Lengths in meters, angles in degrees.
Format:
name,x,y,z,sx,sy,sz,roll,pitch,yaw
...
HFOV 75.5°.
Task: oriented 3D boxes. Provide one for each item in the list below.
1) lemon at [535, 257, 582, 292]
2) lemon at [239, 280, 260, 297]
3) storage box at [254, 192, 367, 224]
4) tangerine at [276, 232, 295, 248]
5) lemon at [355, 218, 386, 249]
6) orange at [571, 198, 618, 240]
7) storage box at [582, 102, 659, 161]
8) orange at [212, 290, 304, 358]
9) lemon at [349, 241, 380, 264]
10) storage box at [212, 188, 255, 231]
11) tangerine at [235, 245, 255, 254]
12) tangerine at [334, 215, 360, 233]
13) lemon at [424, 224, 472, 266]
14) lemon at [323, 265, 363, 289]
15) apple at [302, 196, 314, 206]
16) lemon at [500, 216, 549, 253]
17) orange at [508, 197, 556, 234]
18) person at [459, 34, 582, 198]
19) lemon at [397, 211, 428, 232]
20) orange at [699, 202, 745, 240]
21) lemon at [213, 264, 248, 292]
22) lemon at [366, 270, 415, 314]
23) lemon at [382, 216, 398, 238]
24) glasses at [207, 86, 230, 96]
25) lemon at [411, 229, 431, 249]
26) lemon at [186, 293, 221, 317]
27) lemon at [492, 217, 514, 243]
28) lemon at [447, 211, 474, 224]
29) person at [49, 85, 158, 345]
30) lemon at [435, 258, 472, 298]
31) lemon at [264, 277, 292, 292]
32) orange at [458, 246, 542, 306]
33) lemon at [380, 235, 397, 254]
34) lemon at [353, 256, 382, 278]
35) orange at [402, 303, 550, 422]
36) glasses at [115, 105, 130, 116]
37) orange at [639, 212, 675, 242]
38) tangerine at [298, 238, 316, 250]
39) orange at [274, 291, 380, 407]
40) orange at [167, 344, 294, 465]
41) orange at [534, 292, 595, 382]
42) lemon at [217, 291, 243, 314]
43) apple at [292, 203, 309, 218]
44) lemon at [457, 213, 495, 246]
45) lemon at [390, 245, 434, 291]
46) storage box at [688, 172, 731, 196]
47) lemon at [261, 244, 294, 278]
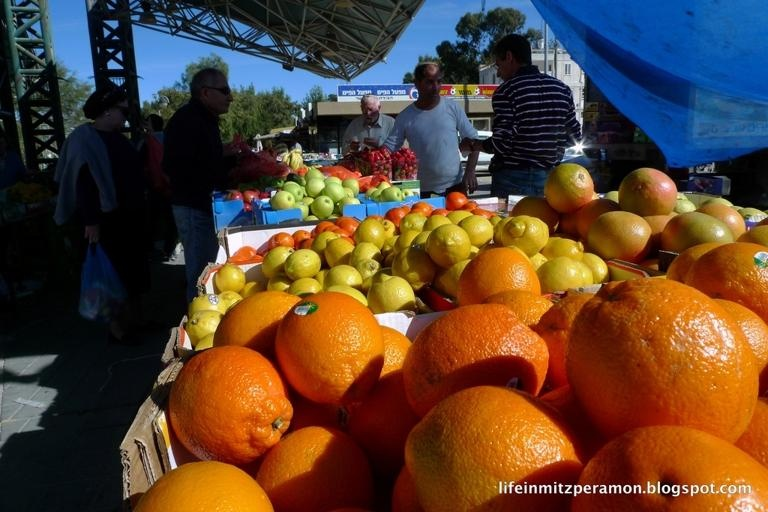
name,x,y,z,sx,sy,sz,roll,pitch,yaw
lemon,0.876,0.090,2.486,0.196,0.163,0.173,-33,29,-29
lemon,-0.794,0.192,2.913,0.072,0.064,0.060,-29,1,-41
storage box,-0.697,-0.418,4.328,0.839,0.245,0.868,-5,21,-25
tangerine,-0.693,-0.115,3.484,0.101,0.112,0.130,-5,10,-1
lemon,-0.084,-0.168,3.213,0.153,0.190,0.202,-5,14,1
orange,1.204,-0.253,2.927,0.224,0.240,0.216,-41,-16,35
storage box,3.753,-1.739,7.840,1.043,0.732,1.021,4,-2,-43
orange,-0.511,0.259,1.981,0.300,0.269,0.266,-17,-26,-21
lemon,-0.116,-0.021,2.943,0.111,0.125,0.152,34,51,24
storage box,-1.402,-0.369,4.523,0.350,0.242,0.348,-14,-3,-30
tangerine,-0.998,-0.040,3.583,0.122,0.048,0.177,-2,20,-17
tangerine,-0.259,-0.223,3.551,0.121,0.142,0.125,11,-6,-21
lemon,0.334,-0.052,2.579,0.176,0.233,0.221,8,10,10
lemon,-0.214,0.115,2.708,0.134,0.156,0.131,-2,-2,-22
apple,-0.666,-0.498,4.399,0.076,0.104,0.082,-7,15,25
lemon,0.751,-0.119,2.663,0.165,0.154,0.227,4,3,23
orange,0.938,-0.282,3.136,0.214,0.234,0.224,7,-18,1
person,1.281,-1.263,4.594,0.926,1.502,0.706,10,18,20
lemon,0.193,-0.217,3.185,0.140,0.128,0.110,3,-2,-22
orange,1.806,-0.183,2.668,0.137,0.155,0.179,4,40,1
lemon,-0.929,0.137,3.028,0.147,0.196,0.154,-10,-1,-4
lemon,0.031,0.176,2.527,0.184,0.210,0.180,-1,7,43
lemon,0.043,-0.191,3.342,0.100,0.117,0.109,-1,-4,18
glasses,-1.613,-1.626,4.837,0.196,0.070,0.208,1,8,-2
lemon,0.205,-0.091,2.813,0.091,0.103,0.115,5,29,34
lemon,-0.948,0.260,2.624,0.139,0.164,0.148,7,2,-11
lemon,0.651,-0.153,2.819,0.108,0.147,0.135,0,13,0
lemon,0.472,-0.241,3.166,0.112,0.074,0.094,-2,1,11
person,-2.896,-0.405,5.225,0.570,2.628,0.752,7,17,14
lemon,0.336,0.117,2.571,0.138,0.208,0.108,3,-23,21
lemon,-0.629,0.167,2.958,0.117,0.113,0.108,5,-32,-1
orange,0.498,0.087,2.297,0.270,0.301,0.292,8,28,-50
lemon,0.029,-0.074,3.104,0.097,0.109,0.104,21,-17,3
lemon,-0.087,0.066,2.793,0.101,0.120,0.105,-5,-10,0
orange,0.312,0.335,1.676,0.423,0.392,0.413,-14,12,17
glasses,-2.644,-1.486,5.039,0.095,0.037,0.104,4,7,-8
orange,1.520,-0.193,2.824,0.141,0.146,0.144,36,-1,-7
tangerine,-0.516,-0.082,3.335,0.074,0.102,0.077,-1,-5,33
orange,-0.215,0.291,1.940,0.356,0.382,0.378,7,19,-2
orange,-0.505,0.473,1.874,0.440,0.429,0.383,3,1,37
orange,0.662,0.336,1.935,0.264,0.354,0.264,-2,-21,34
lemon,-0.794,0.240,2.547,0.081,0.098,0.106,0,28,-17
apple,-0.711,-0.382,4.246,0.106,0.117,0.110,14,6,-37
lemon,0.524,-0.177,2.905,0.163,0.203,0.174,-25,34,-33
lemon,0.139,0.074,2.754,0.202,0.208,0.251,-1,54,-23
storage box,4.119,-0.919,6.294,0.415,0.308,0.453,8,8,0
lemon,-0.654,0.049,3.123,0.170,0.235,0.179,25,-8,-1
